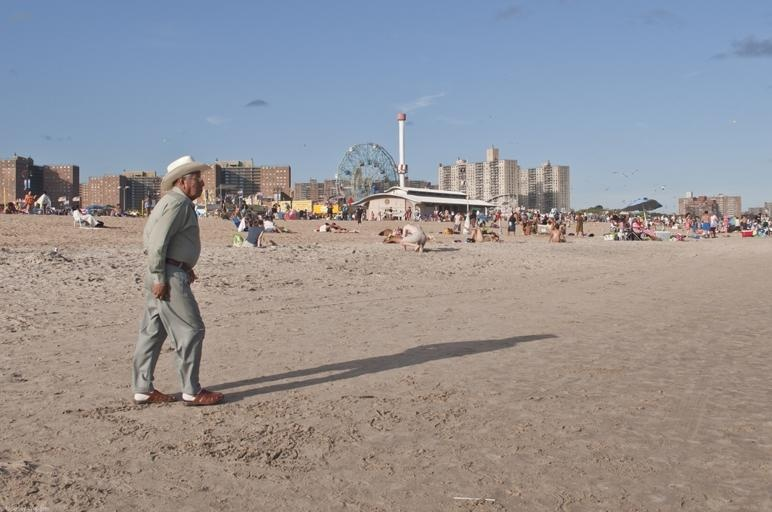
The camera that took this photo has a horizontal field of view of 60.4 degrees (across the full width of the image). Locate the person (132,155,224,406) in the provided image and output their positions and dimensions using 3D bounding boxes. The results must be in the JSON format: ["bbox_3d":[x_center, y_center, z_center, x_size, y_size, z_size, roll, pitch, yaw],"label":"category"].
[{"bbox_3d":[-2.466,0.295,7.699,0.986,2.817,0.811,-2,11,-12],"label":"person"}]

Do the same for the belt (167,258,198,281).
[{"bbox_3d":[-2.335,0.153,7.646,0.265,0.078,0.241,40,-12,-7],"label":"belt"}]

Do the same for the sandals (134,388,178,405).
[{"bbox_3d":[-2.675,1.639,7.675,0.427,0.152,0.174,0,1,-16],"label":"sandals"}]

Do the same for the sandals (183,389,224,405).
[{"bbox_3d":[-2.103,1.656,7.668,0.344,0.122,0.208,-1,2,-8],"label":"sandals"}]

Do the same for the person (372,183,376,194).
[{"bbox_3d":[-1.478,-8.314,81.256,0.646,1.071,0.820,0,11,-1],"label":"person"}]
